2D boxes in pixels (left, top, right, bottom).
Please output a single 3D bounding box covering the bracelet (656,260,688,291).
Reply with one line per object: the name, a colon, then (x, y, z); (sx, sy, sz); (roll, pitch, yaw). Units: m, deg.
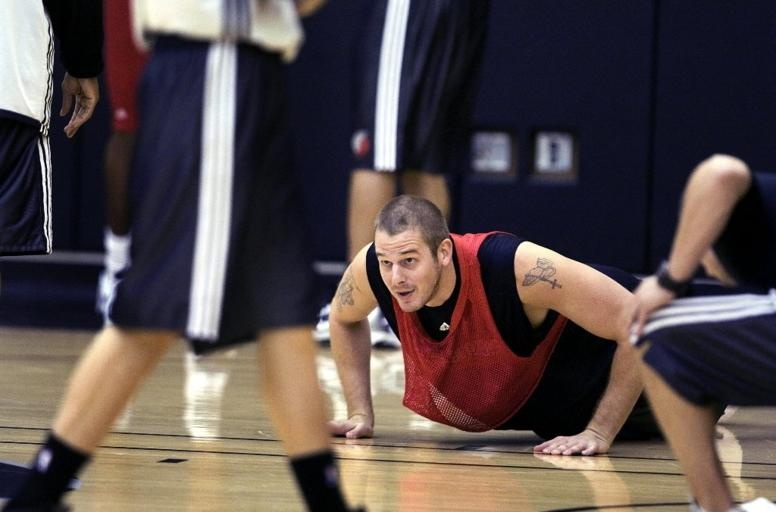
bracelet: (0.569, 0.041, 1.557); (0.042, 0.026, 0.044); (27, -3, 45)
